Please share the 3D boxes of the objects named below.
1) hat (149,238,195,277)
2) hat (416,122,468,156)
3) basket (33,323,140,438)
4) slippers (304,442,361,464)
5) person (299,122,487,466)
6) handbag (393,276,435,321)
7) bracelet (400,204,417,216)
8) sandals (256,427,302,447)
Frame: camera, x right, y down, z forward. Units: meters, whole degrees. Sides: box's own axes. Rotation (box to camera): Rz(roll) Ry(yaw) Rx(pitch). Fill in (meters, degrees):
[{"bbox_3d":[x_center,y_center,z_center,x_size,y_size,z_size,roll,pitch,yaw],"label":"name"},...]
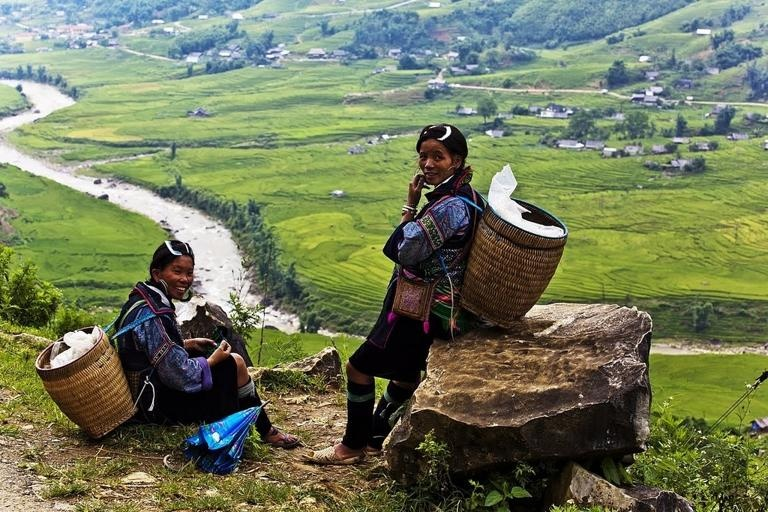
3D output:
[{"bbox_3d":[-2.183,0.000,7.679,0.434,0.354,0.342,25,2,9],"label":"hat"},{"bbox_3d":[0.560,-1.146,7.587,0.506,0.346,0.266,0,8,5],"label":"hat"},{"bbox_3d":[-2.872,1.259,7.482,0.845,0.907,0.878,-20,16,47],"label":"basket"},{"bbox_3d":[-0.520,2.021,7.816,0.580,0.162,0.211,1,1,2],"label":"slippers"},{"bbox_3d":[0.242,0.414,7.617,1.420,3.391,0.479,0,9,5],"label":"person"},{"bbox_3d":[0.279,0.403,7.432,0.453,0.385,0.100,14,-12,8],"label":"handbag"},{"bbox_3d":[0.225,-0.454,7.541,0.123,0.063,0.122,5,-1,37],"label":"bracelet"},{"bbox_3d":[-1.126,1.916,8.027,0.399,0.123,0.181,1,7,21],"label":"sandals"}]
